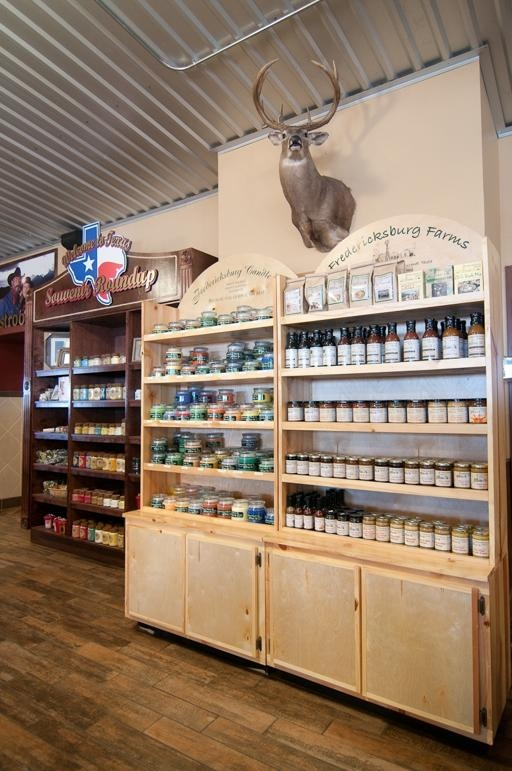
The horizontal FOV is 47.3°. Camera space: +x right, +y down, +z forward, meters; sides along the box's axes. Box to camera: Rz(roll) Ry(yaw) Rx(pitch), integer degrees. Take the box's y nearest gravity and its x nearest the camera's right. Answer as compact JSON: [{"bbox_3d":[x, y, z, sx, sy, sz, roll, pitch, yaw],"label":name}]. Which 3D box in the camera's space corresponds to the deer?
[{"bbox_3d":[0.357,-1.303,3.423,0.473,1.060,0.666,17,30,38],"label":"deer"}]
